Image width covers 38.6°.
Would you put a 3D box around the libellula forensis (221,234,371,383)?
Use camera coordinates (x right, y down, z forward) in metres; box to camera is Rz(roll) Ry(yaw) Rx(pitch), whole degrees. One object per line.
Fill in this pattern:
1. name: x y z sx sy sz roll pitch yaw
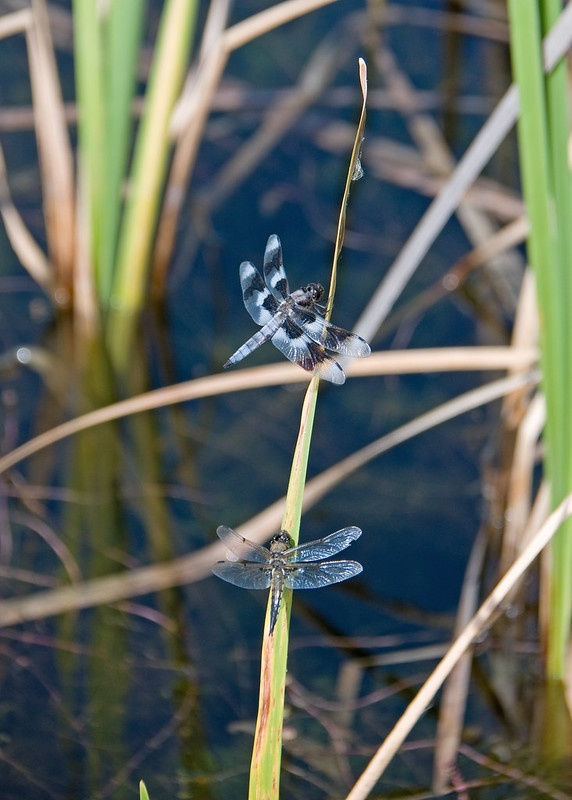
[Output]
1. libellula forensis: 0.025 -0.146 1.367 0.227 0.274 0.228 9 -73 -2

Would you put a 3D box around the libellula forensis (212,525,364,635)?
1. libellula forensis: -0.011 0.259 1.183 0.218 0.149 0.071 0 -38 8
